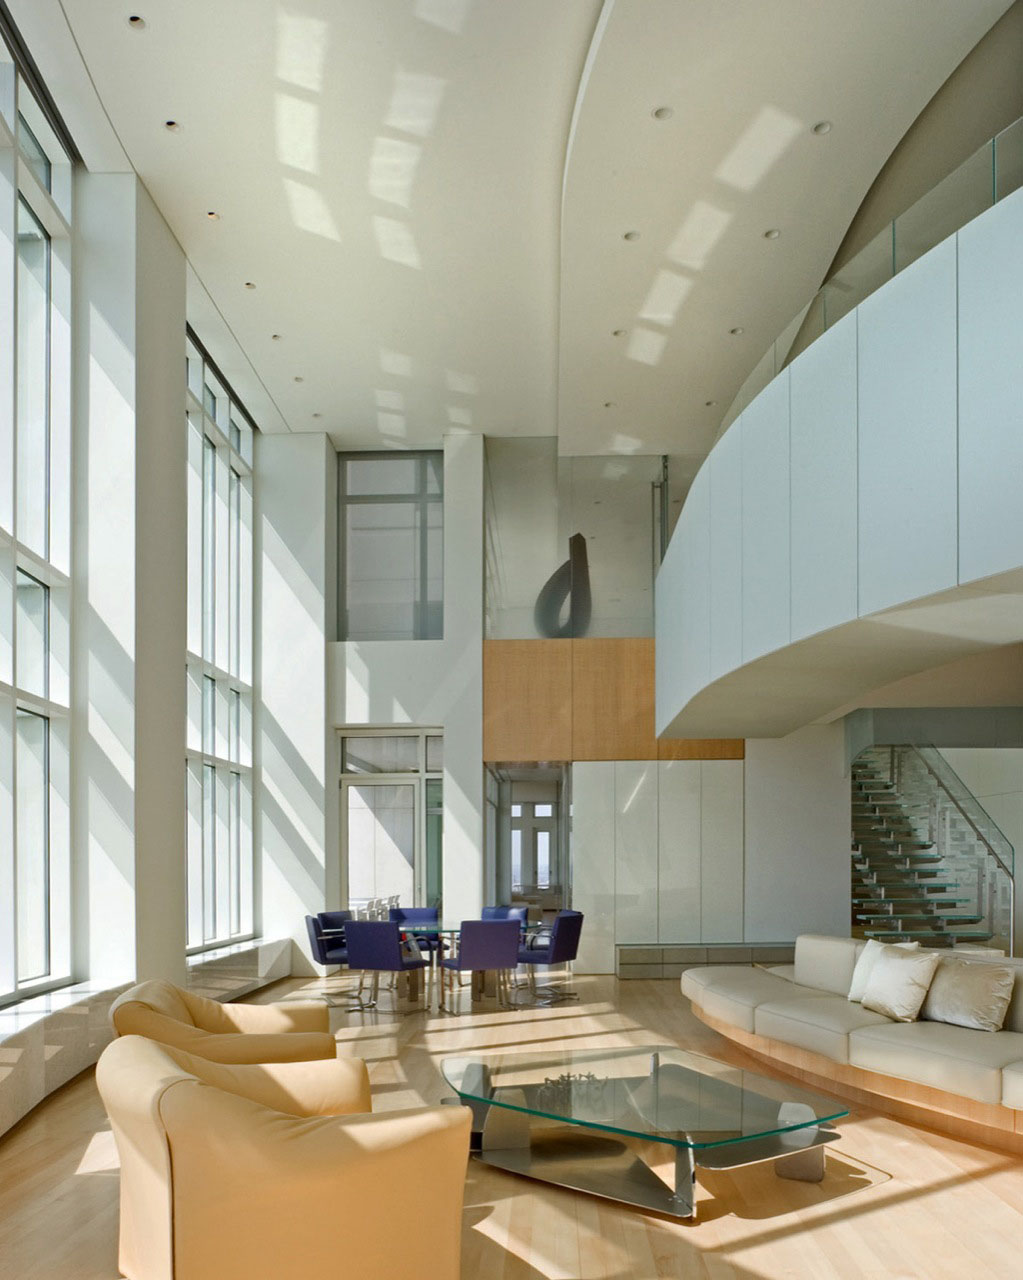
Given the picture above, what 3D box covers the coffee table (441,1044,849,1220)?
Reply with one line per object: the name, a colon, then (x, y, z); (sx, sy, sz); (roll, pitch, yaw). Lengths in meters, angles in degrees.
coffee table: (0.552, 2.118, 5.472); (1.743, 0.463, 1.228); (0, 1, 34)
